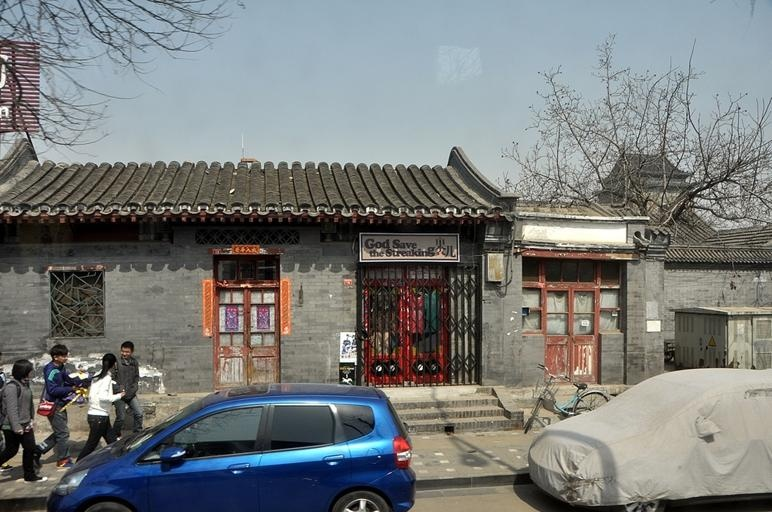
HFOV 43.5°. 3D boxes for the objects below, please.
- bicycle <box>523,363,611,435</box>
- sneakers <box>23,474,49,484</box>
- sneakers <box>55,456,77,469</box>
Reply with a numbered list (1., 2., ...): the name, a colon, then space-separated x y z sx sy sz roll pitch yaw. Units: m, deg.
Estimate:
1. bicycle: 3.917 3.104 21.167 1.556 1.428 3.601 -2 -8 12
2. sneakers: -6.665 4.253 18.427 0.451 0.252 0.150 0 3 -13
3. sneakers: -6.306 4.063 19.051 0.411 0.161 0.183 -4 7 -29
